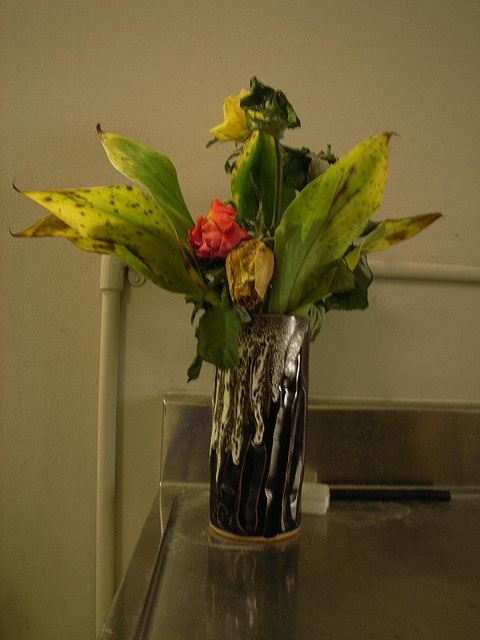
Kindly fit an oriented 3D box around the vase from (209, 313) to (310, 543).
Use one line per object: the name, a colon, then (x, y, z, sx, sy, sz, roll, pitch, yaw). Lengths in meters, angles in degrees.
vase: (0.029, 0.088, 0.658, 0.082, 0.267, 0.115, 7, 24, 16)
